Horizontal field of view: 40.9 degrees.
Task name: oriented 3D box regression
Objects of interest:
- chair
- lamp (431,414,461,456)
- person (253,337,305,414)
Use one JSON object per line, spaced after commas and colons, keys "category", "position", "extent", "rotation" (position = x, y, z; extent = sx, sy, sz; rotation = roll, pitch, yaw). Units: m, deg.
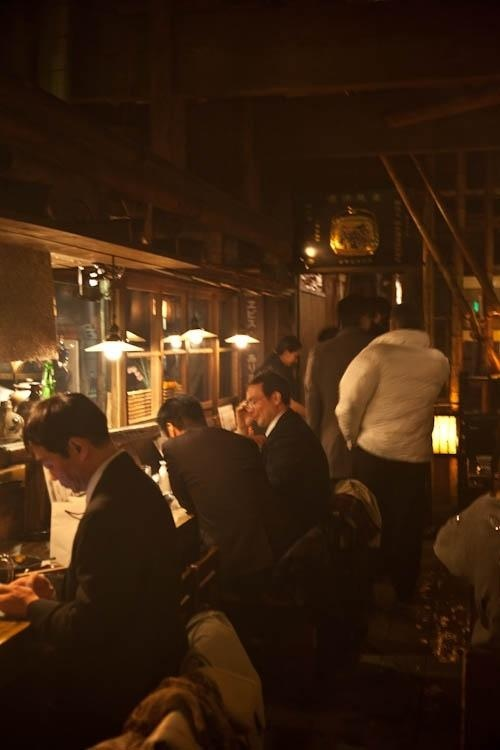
{"category": "chair", "position": [0.165, 0.978, 3.218], "extent": [0.309, 0.998, 0.714], "rotation": [24, 5, 26]}
{"category": "lamp", "position": [1.302, 0.404, 4.468], "extent": [0.249, 0.280, 0.059], "rotation": [1, -2, 6]}
{"category": "person", "position": [0.278, 0.138, 5.642], "extent": [0.395, 0.987, 0.350], "rotation": [0, 38, -1]}
